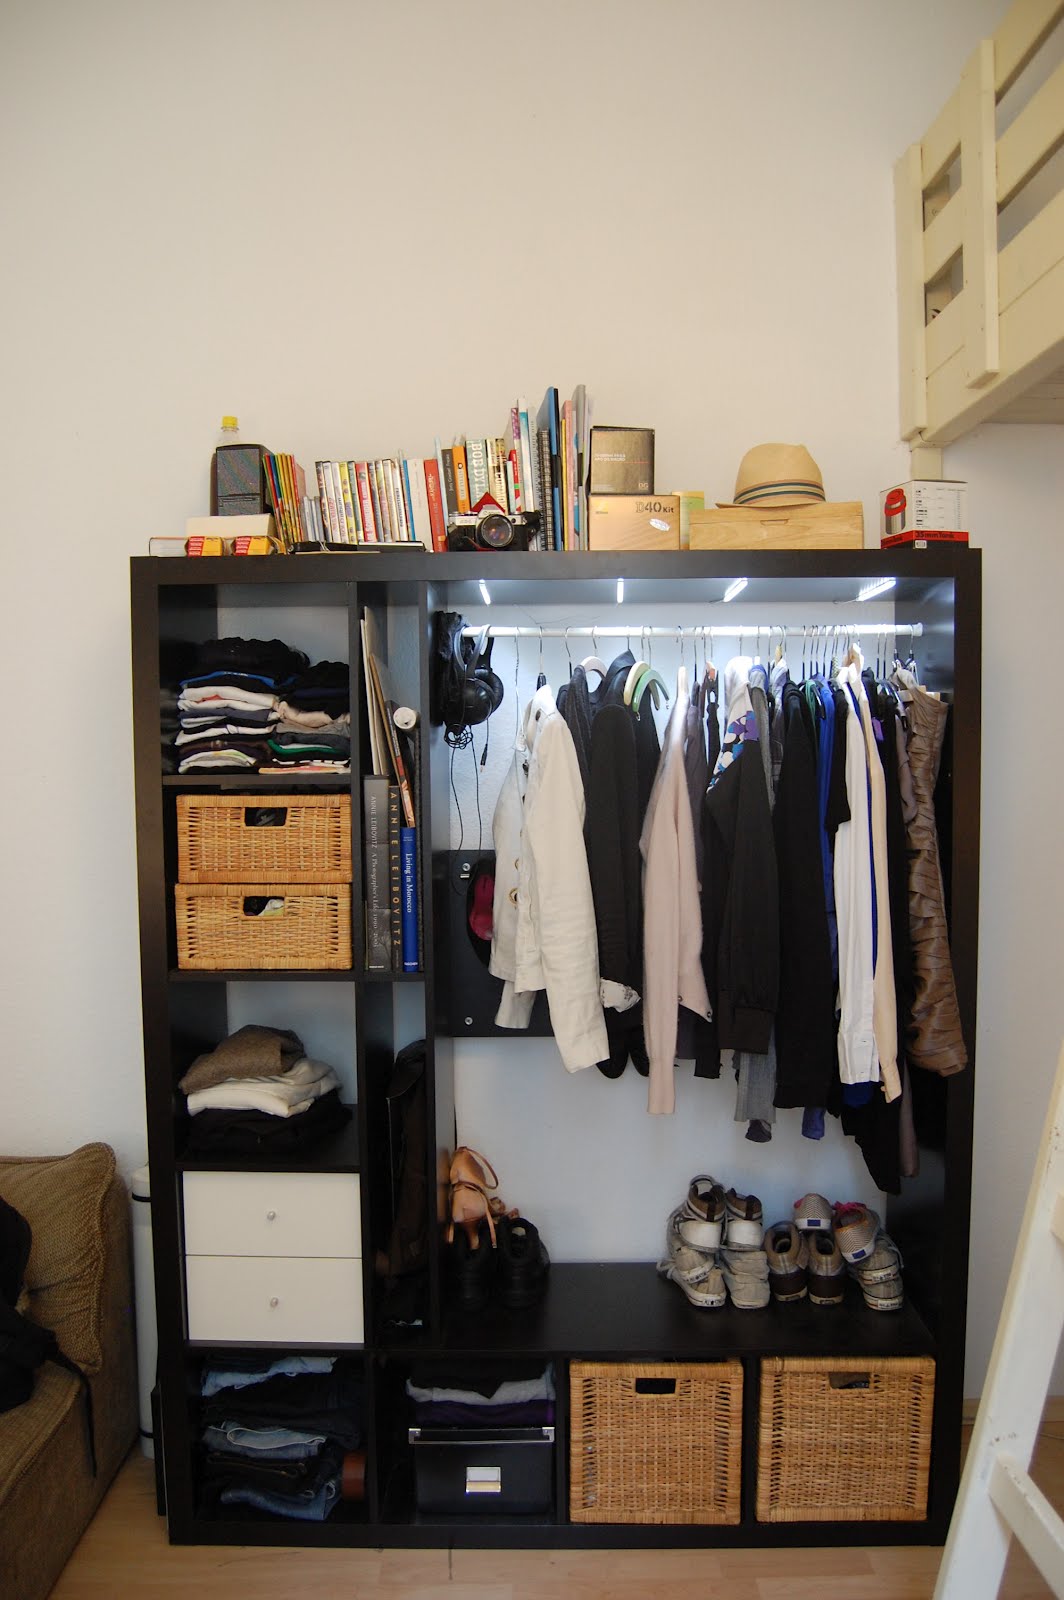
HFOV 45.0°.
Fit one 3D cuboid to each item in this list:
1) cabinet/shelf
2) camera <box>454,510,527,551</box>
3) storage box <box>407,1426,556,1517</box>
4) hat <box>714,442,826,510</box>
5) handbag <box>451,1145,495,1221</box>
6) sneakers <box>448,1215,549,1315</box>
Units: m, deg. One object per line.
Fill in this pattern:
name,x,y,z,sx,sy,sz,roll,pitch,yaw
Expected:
cabinet/shelf,0.031,0.452,2.399,1.662,2.258,0.560,0,1,1
camera,-0.082,-0.481,2.325,0.101,0.071,0.076,-1,6,-5
storage box,-0.083,1.243,2.388,0.186,0.130,0.201,2,-8,-8
hat,0.457,-0.578,2.369,0.126,0.070,0.138,-3,0,-29
handbag,-0.127,0.782,2.598,0.065,0.048,0.124,5,47,-19
sneakers,-0.073,0.911,2.564,0.112,0.095,0.206,0,6,0
